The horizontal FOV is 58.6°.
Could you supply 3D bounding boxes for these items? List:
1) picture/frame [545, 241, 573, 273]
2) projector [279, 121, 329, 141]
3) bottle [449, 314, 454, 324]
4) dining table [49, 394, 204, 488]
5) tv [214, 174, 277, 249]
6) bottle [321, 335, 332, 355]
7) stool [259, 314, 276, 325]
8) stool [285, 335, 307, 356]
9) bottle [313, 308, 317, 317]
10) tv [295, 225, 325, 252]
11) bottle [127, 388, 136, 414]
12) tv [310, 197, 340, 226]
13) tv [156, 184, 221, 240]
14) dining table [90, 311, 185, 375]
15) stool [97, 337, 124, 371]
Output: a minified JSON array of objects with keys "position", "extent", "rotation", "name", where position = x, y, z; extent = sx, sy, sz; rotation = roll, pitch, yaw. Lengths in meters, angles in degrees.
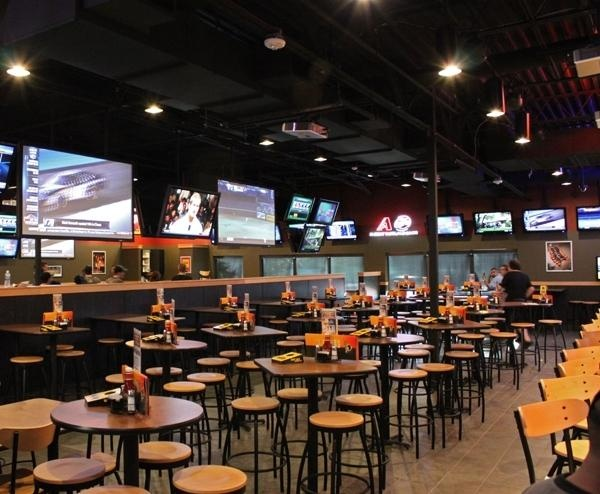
[{"position":[6.786,0.261,13.907],"extent":[0.855,1.029,0.059],"rotation":[-5,-10,39],"name":"picture/frame"},{"position":[0.104,-1.493,6.959],"extent":[0.449,0.089,0.384],"rotation":[1,-3,8],"name":"projector"},{"position":[1.798,0.854,6.351],"extent":[0.059,0.101,0.047],"rotation":[2,-6,-32],"name":"bottle"},{"position":[-1.068,1.087,3.273],"extent":[0.725,0.450,0.669],"rotation":[2,0,-3],"name":"dining table"},{"position":[-0.989,-0.619,9.479],"extent":[0.211,1.388,2.124],"rotation":[0,-1,39],"name":"tv"},{"position":[0.234,0.853,4.597],"extent":[0.100,0.182,0.119],"rotation":[-1,-5,0],"name":"bottle"},{"position":[-0.616,1.426,10.234],"extent":[0.277,0.258,0.255],"rotation":[0,1,0],"name":"stool"},{"position":[-0.011,1.344,7.297],"extent":[0.331,0.309,0.309],"rotation":[0,0,2],"name":"stool"},{"position":[0.223,0.950,7.596],"extent":[0.080,0.126,0.074],"rotation":[1,5,0],"name":"bottle"},{"position":[0.210,-0.216,12.583],"extent":[0.078,0.508,0.762],"rotation":[30,19,34],"name":"tv"},{"position":[-1.065,0.979,3.369],"extent":[0.056,0.108,0.126],"rotation":[2,-8,-23],"name":"bottle"},{"position":[0.593,-0.843,13.055],"extent":[0.120,0.729,1.130],"rotation":[16,11,37],"name":"tv"},{"position":[-1.754,-0.541,8.577],"extent":[0.188,0.864,1.351],"rotation":[18,6,38],"name":"tv"},{"position":[-2.293,1.221,7.551],"extent":[1.144,0.607,1.044],"rotation":[1,1,22],"name":"dining table"},{"position":[-2.610,1.508,7.375],"extent":[0.358,0.514,0.812],"rotation":[1,-5,-20],"name":"stool"}]
